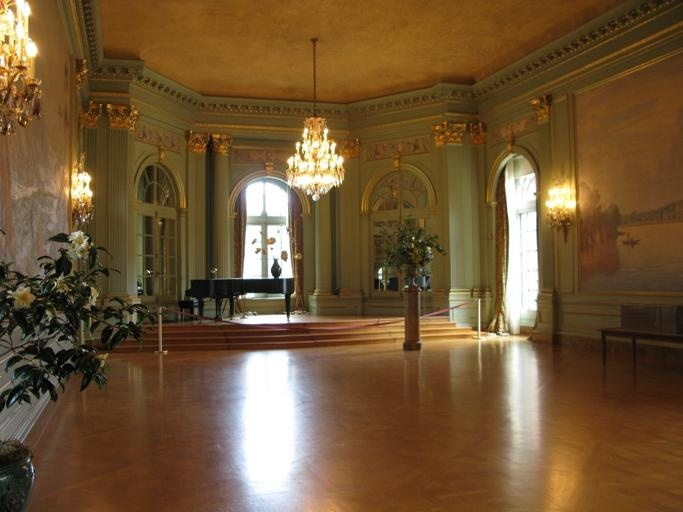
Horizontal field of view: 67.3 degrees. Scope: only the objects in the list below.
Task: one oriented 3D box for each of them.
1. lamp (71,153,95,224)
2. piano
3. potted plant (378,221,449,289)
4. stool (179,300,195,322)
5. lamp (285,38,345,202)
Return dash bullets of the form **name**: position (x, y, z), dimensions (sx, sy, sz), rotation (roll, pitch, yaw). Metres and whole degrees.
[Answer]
- **lamp**: position (-4.844, -1.294, 9.593), dimensions (0.322, 1.403, 1.118), rotation (0, -1, -23)
- **piano**: position (-2.377, 1.043, 12.405), dimensions (2.352, 0.714, 2.042), rotation (-1, -1, -2)
- **potted plant**: position (1.501, -0.074, 11.226), dimensions (1.466, 1.945, 1.829), rotation (-2, -4, 7)
- **stool**: position (-3.669, 1.290, 12.136), dimensions (0.277, 0.378, 0.494), rotation (3, -7, -32)
- **lamp**: position (-0.571, -2.834, 11.129), dimensions (1.269, 3.678, 1.232), rotation (-4, -5, 45)
